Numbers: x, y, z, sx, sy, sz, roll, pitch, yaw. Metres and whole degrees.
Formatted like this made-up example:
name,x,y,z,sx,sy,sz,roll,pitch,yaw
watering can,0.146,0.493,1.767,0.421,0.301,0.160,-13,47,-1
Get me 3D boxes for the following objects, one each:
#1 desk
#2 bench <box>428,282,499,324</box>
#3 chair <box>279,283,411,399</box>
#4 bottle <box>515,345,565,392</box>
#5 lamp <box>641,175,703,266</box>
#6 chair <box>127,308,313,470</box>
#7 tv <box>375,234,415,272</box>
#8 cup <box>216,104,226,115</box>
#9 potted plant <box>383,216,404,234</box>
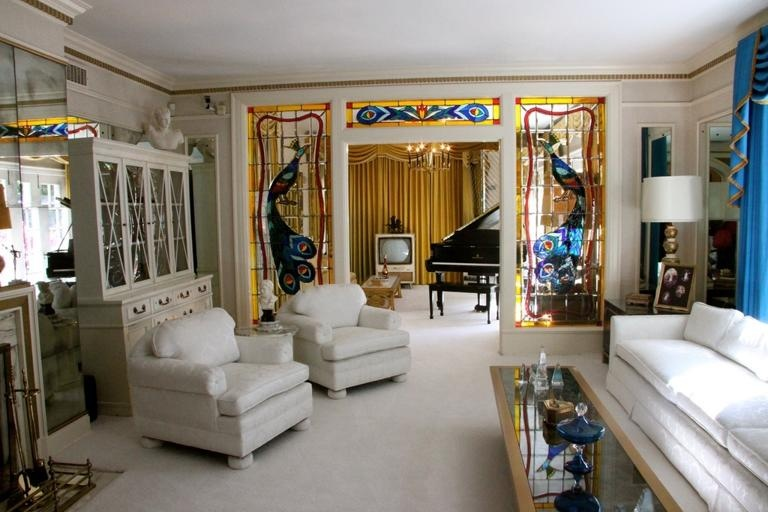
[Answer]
name,x,y,z,sx,sy,sz,roll,pitch,yaw
desk,2.921,1.022,6.440,0.650,1.031,1.211,-1,7,6
bench,1.287,0.649,9.192,1.157,0.574,1.420,0,6,15
chair,-0.427,0.896,6.445,1.205,1.022,1.118,-4,8,-40
bottle,1.450,1.050,5.202,0.416,0.354,0.426,-1,-4,17
lamp,3.232,-0.423,6.464,0.559,0.970,0.579,-3,6,-8
chair,-1.487,1.106,5.208,1.326,1.129,0.973,1,7,27
tv,0.252,-0.082,11.546,1.042,1.059,0.639,0,1,3
cup,-2.085,-1.878,7.271,0.107,0.097,0.123,-1,1,-16
potted plant,0.220,-0.664,11.690,0.383,0.361,0.309,-1,6,12
